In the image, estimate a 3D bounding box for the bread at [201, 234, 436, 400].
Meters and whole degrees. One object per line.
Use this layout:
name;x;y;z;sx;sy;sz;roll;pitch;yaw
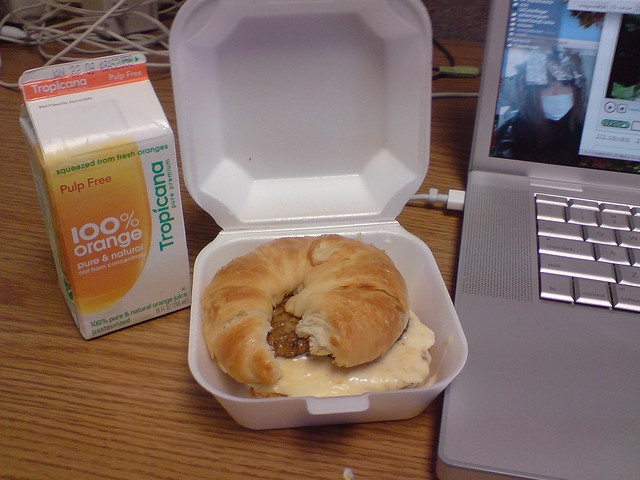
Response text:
bread;-0.013;0.101;0.725;0.240;0.079;0.223;-3;48;-11
